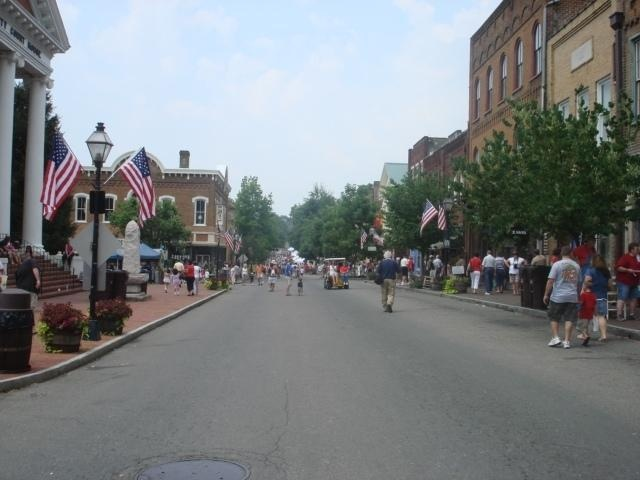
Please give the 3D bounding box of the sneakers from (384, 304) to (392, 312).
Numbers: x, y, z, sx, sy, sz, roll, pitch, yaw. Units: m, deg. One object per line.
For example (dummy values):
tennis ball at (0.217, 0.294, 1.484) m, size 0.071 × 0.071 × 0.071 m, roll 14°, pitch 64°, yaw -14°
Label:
sneakers at (2.237, 2.223, 21.995) m, size 0.259 × 0.240 × 0.325 m, roll 0°, pitch 2°, yaw 1°

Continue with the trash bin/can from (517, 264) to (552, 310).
trash bin/can at (6.941, 1.518, 21.972) m, size 0.625 × 1.428 × 1.378 m, roll 0°, pitch 2°, yaw -1°

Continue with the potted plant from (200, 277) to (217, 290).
potted plant at (-6.878, 2.685, 42.057) m, size 0.556 × 0.700 × 0.619 m, roll -3°, pitch 27°, yaw -47°

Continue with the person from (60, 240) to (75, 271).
person at (-12.885, 0.792, 34.923) m, size 0.554 × 1.332 × 3.128 m, roll -1°, pitch 2°, yaw -21°

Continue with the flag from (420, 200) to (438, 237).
flag at (6.718, -1.405, 42.250) m, size 0.161 × 2.421 × 1.309 m, roll 17°, pitch -39°, yaw -34°

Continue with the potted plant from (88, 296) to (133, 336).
potted plant at (-4.848, 1.785, 15.835) m, size 0.756 × 0.877 × 0.714 m, roll 4°, pitch 5°, yaw 42°

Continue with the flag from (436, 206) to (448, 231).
flag at (6.468, -1.181, 35.603) m, size 0.367 × 1.222 × 1.486 m, roll 0°, pitch 2°, yaw 9°

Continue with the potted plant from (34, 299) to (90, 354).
potted plant at (-4.962, 1.659, 13.484) m, size 0.937 × 0.988 × 0.886 m, roll -3°, pitch 6°, yaw -18°

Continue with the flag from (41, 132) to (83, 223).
flag at (-10.039, -2.629, 26.285) m, size 1.290 × 3.063 × 0.716 m, roll -1°, pitch 2°, yaw -32°
